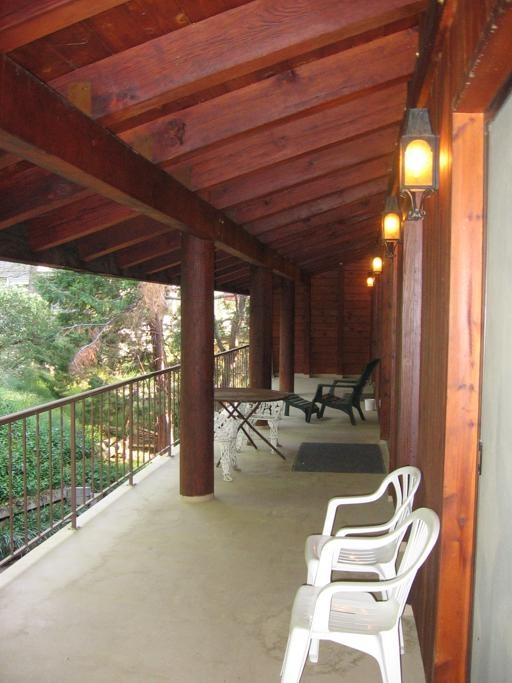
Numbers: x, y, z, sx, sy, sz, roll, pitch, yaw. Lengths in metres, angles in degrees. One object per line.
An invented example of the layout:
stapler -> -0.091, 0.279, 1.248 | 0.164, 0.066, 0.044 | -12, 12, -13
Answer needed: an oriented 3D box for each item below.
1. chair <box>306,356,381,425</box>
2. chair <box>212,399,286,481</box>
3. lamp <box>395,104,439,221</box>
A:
chair -> 1.508, 0.855, 8.890 | 1.416, 1.387, 1.073 | 1, 2, 21
chair -> -0.260, 1.004, 5.574 | 0.685, 0.553, 0.712 | 0, 2, 23
lamp -> 0.607, -0.659, 2.013 | 0.172, 0.414, 0.177 | -2, 4, -31
